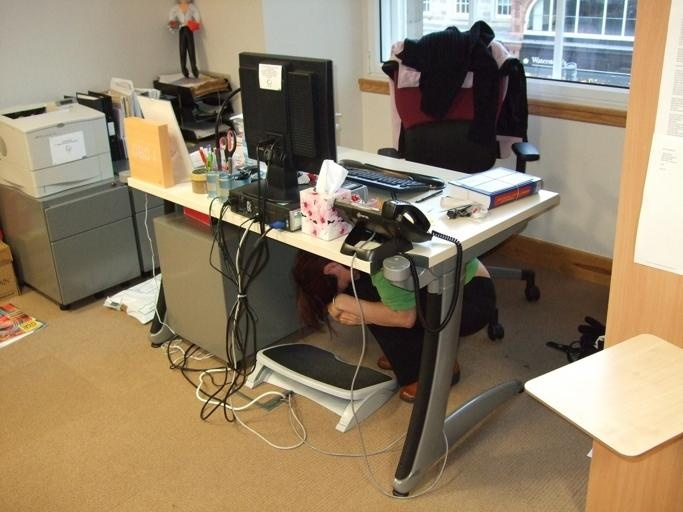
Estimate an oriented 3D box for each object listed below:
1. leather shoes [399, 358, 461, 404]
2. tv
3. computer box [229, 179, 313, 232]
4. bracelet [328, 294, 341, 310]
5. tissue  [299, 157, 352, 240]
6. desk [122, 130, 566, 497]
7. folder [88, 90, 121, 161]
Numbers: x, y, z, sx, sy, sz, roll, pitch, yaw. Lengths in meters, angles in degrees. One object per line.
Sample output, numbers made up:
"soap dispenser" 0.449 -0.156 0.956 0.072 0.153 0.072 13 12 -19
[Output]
"leather shoes" 0.430 0.615 2.670 0.263 0.205 0.253 11 26 15
"tv" -0.239 -0.514 2.272 0.522 0.624 0.215 21 36 33
"computer box" -0.266 -0.255 2.358 0.377 0.198 0.266 16 31 18
"bracelet" -0.035 0.198 2.409 0.015 0.063 0.062 29 68 -7
"tissue " -0.065 -0.215 2.139 0.199 0.358 0.185 20 28 33
"desk" -0.045 0.090 2.739 1.828 0.984 1.063 21 33 35
"folder" -1.499 -0.867 3.532 0.076 0.459 0.195 25 29 32
